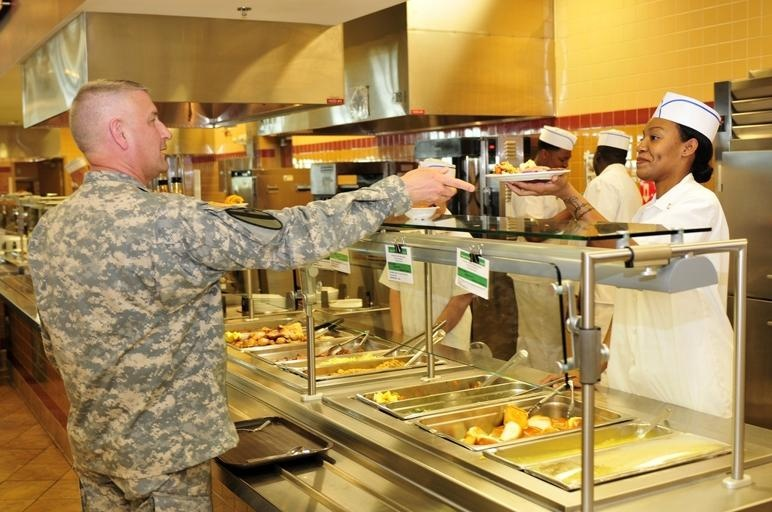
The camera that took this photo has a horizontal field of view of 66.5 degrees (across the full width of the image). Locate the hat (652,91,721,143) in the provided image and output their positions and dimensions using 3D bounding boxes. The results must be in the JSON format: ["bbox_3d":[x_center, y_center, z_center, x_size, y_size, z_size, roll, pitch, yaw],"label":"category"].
[{"bbox_3d":[1.236,-0.530,2.414,0.269,0.116,0.231,20,12,0],"label":"hat"}]

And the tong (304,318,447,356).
[{"bbox_3d":[-0.098,0.387,2.899,0.297,0.054,0.423,-12,3,45],"label":"tong"}]

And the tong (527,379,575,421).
[{"bbox_3d":[0.571,0.484,2.000,0.192,0.097,0.054,-19,-15,8],"label":"tong"}]

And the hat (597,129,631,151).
[{"bbox_3d":[1.677,-0.860,4.405,0.222,0.112,0.208,15,12,24],"label":"hat"}]

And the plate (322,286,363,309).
[{"bbox_3d":[-0.232,0.196,2.924,0.139,0.056,0.177,1,1,-21],"label":"plate"}]
